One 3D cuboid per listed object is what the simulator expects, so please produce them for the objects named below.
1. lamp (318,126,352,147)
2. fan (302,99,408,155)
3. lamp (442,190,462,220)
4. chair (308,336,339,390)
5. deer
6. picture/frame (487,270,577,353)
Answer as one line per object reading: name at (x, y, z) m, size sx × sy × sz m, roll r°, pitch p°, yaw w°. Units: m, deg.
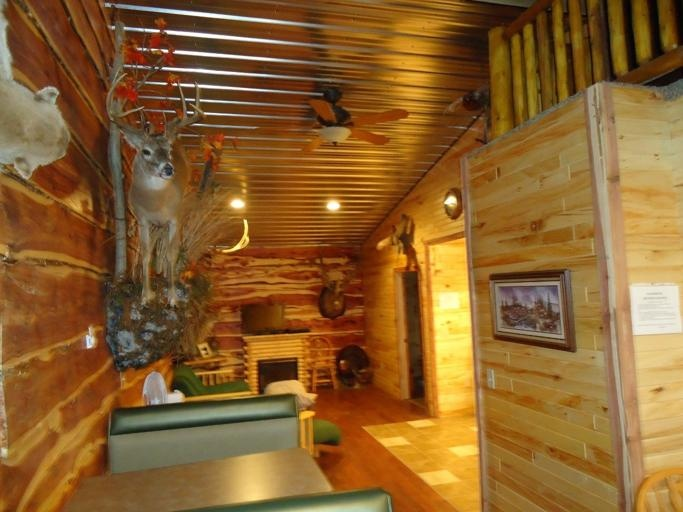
lamp at (-0.066, -1.069, 4.586) m, size 0.221 × 0.082 × 0.193 m, roll -1°, pitch -9°, yaw -6°
fan at (0.070, -1.167, 4.620) m, size 0.779 × 0.303 × 0.682 m, roll -4°, pitch -9°, yaw 20°
lamp at (1.341, -0.619, 6.104) m, size 0.122 × 0.372 × 0.336 m, roll -5°, pitch 0°, yaw -14°
chair at (-0.341, 1.873, 9.050) m, size 0.492 × 0.991 × 0.590 m, roll -5°, pitch 0°, yaw 2°
deer at (-1.127, -0.372, 3.282) m, size 0.520 × 1.383 × 0.766 m, roll -5°, pitch 0°, yaw -17°
picture/frame at (1.324, 0.380, 3.520) m, size 0.054 × 0.513 × 0.710 m, roll -1°, pitch -2°, yaw -27°
